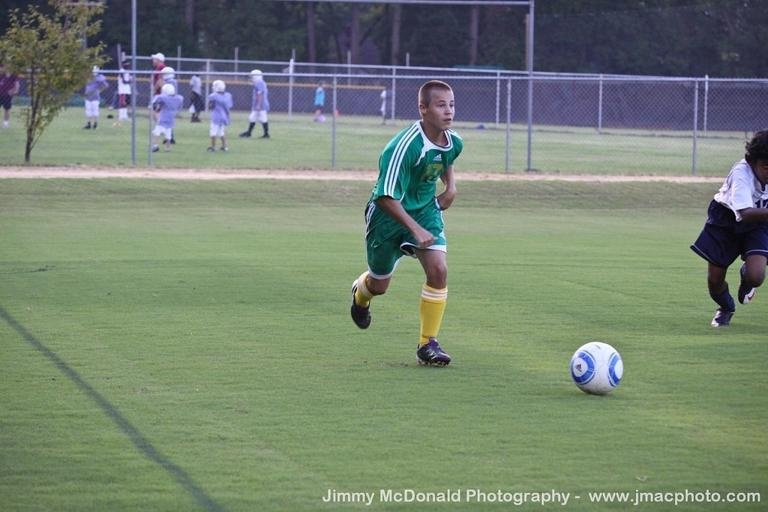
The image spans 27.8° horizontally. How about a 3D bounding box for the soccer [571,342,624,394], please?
[{"bbox_3d":[2.966,1.580,21.862,0.717,0.704,0.231,0,9,2],"label":"soccer"}]
